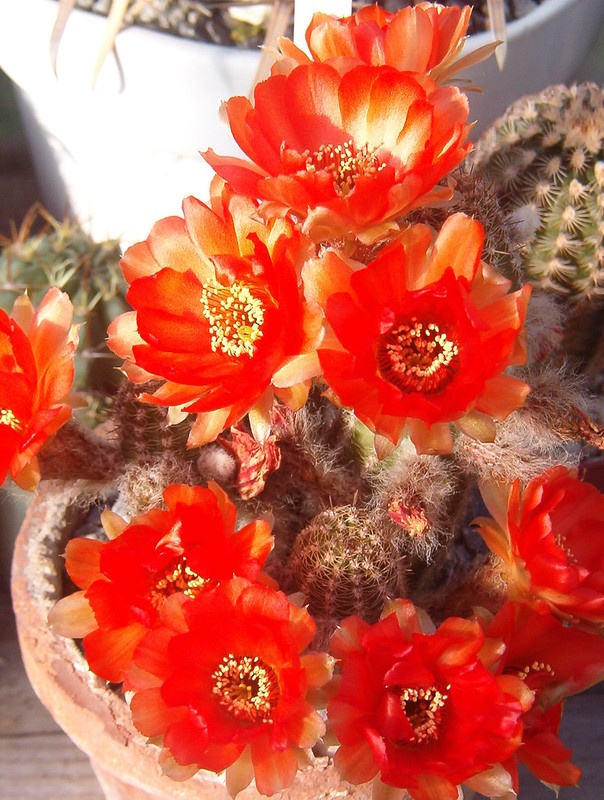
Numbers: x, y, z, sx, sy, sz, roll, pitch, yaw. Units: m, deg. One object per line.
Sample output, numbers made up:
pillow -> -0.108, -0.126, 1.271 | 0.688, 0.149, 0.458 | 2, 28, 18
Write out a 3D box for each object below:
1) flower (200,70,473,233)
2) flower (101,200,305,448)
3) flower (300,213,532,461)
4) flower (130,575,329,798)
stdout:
flower -> 0.012, -0.112, 0.366 | 0.112, 0.050, 0.105 | 13, 65, 14
flower -> -0.034, -0.046, 0.435 | 0.083, 0.170, 0.168 | 1, 74, 5
flower -> 0.055, -0.028, 0.359 | 0.101, 0.078, 0.099 | -29, 57, -20
flower -> -0.035, 0.139, 0.381 | 0.094, 0.075, 0.084 | 30, 58, 22
